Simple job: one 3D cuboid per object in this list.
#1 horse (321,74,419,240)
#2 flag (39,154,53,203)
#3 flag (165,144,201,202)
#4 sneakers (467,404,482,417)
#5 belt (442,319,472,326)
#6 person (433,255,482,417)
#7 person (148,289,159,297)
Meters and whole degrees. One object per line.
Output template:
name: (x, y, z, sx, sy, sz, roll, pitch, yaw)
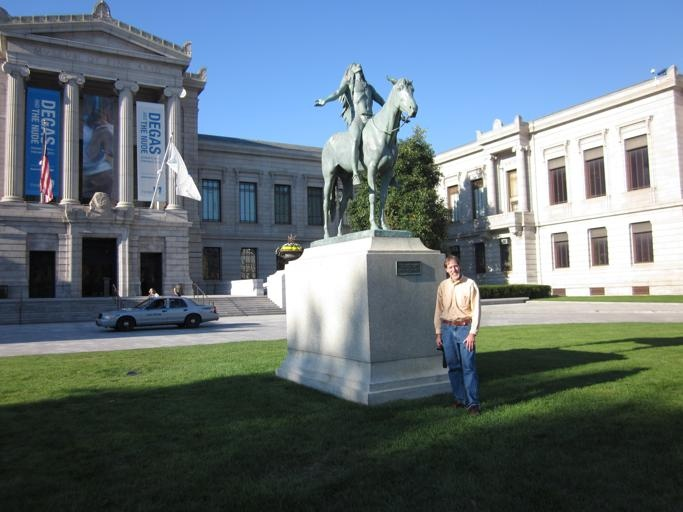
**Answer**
horse: (0.506, -1.750, 10.977, 0.795, 2.682, 2.955, 2, -9, -38)
flag: (-18.613, -4.849, 35.922, 0.731, 3.054, 1.341, -3, 3, -28)
flag: (-10.655, -5.720, 37.889, 1.861, 4.022, 5.860, -2, 3, -17)
sneakers: (2.015, 2.323, 8.617, 0.208, 0.121, 0.346, -1, 3, 14)
belt: (1.816, 1.040, 8.960, 0.445, 0.116, 0.098, 0, 3, 25)
person: (1.869, 1.189, 8.970, 0.400, 2.383, 0.915, -3, 4, -34)
person: (-11.623, 2.279, 35.248, 0.382, 0.576, 0.931, -4, -13, -32)
